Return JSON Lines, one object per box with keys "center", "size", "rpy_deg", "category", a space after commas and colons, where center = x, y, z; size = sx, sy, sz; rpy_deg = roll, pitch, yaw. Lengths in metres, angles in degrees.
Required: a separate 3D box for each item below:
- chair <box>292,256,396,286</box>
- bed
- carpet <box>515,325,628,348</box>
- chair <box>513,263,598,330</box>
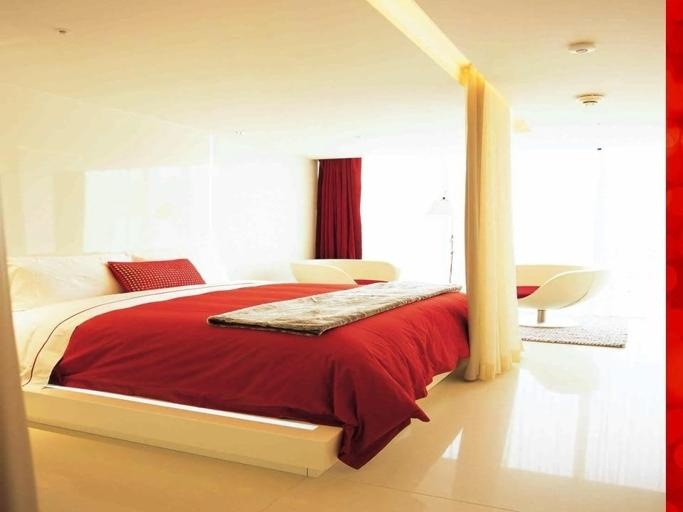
{"center": [0.122, 0.212, 6.474], "size": [0.606, 0.398, 0.713], "rpy_deg": [-5, -4, 42], "category": "chair"}
{"center": [-0.608, 0.704, 3.101], "size": [2.601, 0.711, 1.376], "rpy_deg": [2, 4, 17], "category": "bed"}
{"center": [2.778, 0.923, 5.398], "size": [1.194, 0.030, 1.134], "rpy_deg": [2, 4, 19], "category": "carpet"}
{"center": [2.834, 0.512, 5.949], "size": [1.005, 0.750, 1.320], "rpy_deg": [2, 4, 20], "category": "chair"}
